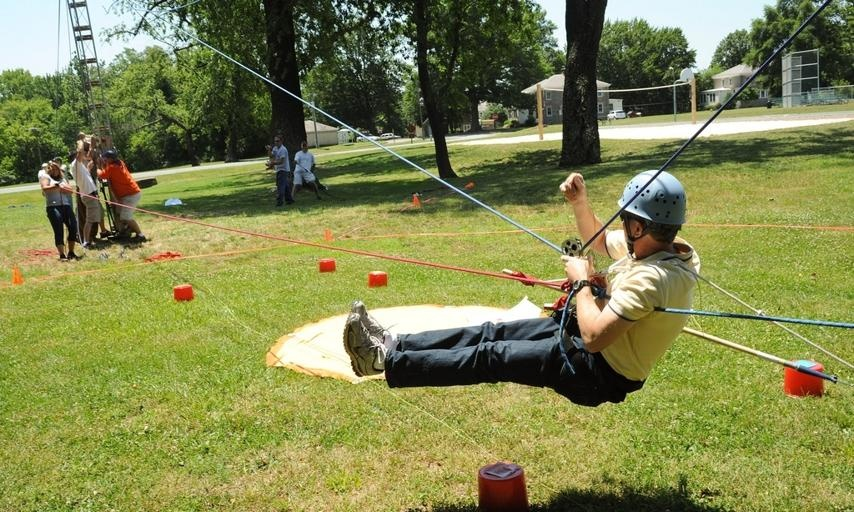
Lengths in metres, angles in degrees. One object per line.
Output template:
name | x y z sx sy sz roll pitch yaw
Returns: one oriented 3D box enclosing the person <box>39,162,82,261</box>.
person | -7.901 -1.005 15.148 0.593 2.092 1.571 -13 17 -27
